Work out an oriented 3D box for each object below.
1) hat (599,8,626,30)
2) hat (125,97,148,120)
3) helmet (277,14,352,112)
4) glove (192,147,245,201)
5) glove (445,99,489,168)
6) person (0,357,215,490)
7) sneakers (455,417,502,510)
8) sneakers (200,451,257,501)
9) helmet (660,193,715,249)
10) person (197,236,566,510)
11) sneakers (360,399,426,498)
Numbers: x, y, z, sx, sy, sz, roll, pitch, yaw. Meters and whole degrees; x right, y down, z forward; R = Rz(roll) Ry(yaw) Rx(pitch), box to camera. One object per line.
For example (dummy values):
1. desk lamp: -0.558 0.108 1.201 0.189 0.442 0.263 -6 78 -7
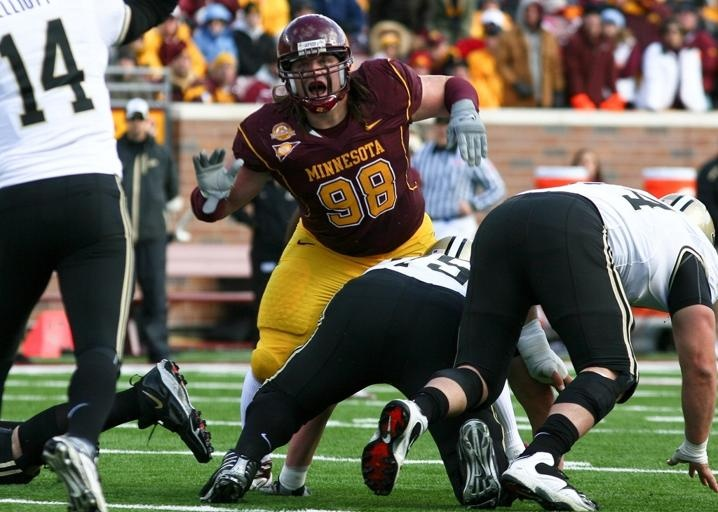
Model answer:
1. hat: 2.868 -2.703 12.492 0.348 0.217 0.116 -9 12 -33
2. hat: -1.898 -1.267 9.409 0.155 0.143 0.245 -1 -3 -6
3. helmet: -0.202 -0.922 5.207 0.323 0.439 0.422 -13 11 1
4. glove: -0.665 -0.389 5.197 0.226 0.242 0.219 -4 10 -9
5. glove: 0.510 -0.583 5.246 0.179 0.318 0.361 -1 10 6
6. person: -1.057 0.652 4.729 0.470 0.275 0.734 5 9 28
7. sneakers: 0.491 0.869 4.569 0.131 0.417 0.183 0 -4 -1
8. sneakers: -0.565 0.972 4.672 0.117 0.155 0.335 33 -34 -2
9. helmet: 1.567 -0.214 5.240 0.200 0.247 0.261 17 -12 45
10. person: 0.113 0.459 4.936 0.890 0.651 1.226 0 4 23
11. sneakers: 0.121 0.745 4.444 0.167 0.445 0.223 32 19 20
